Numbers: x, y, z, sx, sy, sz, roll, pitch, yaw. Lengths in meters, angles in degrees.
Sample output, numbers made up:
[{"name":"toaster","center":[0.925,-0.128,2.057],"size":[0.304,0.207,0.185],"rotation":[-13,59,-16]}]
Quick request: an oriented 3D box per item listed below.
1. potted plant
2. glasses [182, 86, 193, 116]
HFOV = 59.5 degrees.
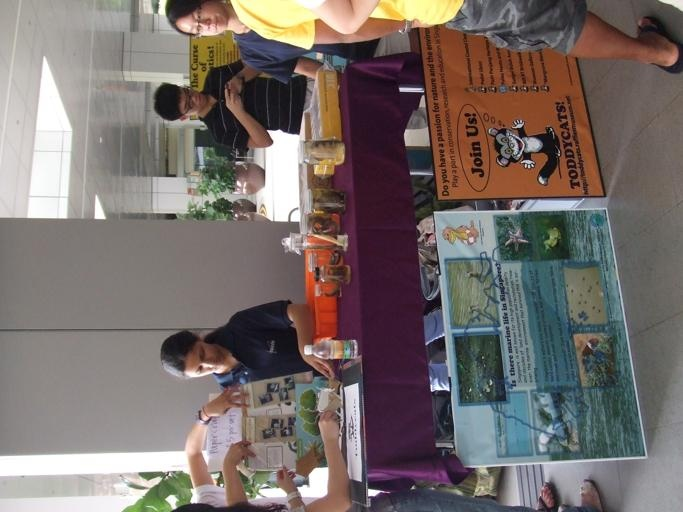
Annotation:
[{"name":"potted plant","center":[-1.173,-0.628,6.027],"size":[0.779,0.717,0.274],"rotation":[-5,20,-19]},{"name":"glasses","center":[-1.171,-1.166,4.554],"size":[0.078,0.184,0.244],"rotation":[0,-11,-3]}]
